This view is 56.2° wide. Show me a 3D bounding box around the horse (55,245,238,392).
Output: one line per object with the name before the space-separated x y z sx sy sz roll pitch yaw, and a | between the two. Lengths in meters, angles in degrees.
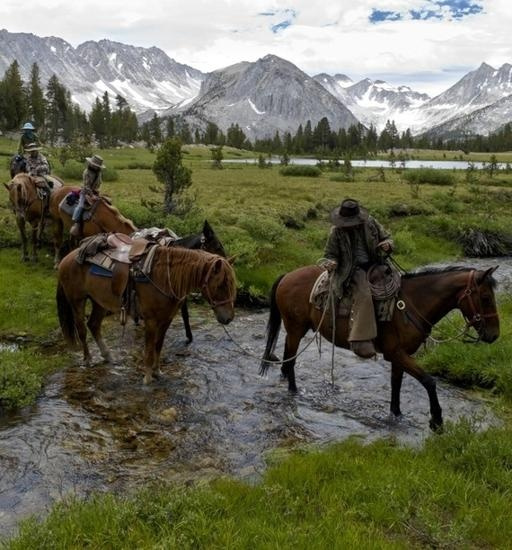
horse | -2.178 0.743 9.293 4.216 2.586 0.756 6 8 31

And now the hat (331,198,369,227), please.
hat | 1.622 -1.045 8.244 0.585 0.490 0.386 2 7 10

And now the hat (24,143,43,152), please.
hat | -7.332 -4.106 15.689 0.548 0.174 0.576 -24 21 -33
